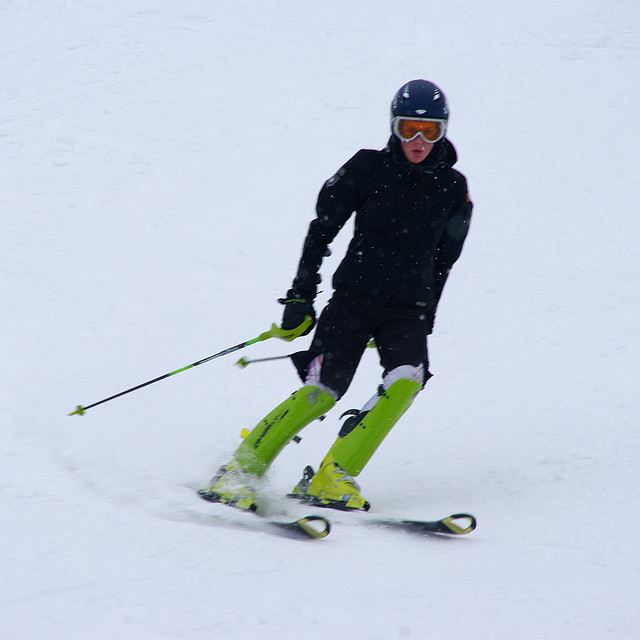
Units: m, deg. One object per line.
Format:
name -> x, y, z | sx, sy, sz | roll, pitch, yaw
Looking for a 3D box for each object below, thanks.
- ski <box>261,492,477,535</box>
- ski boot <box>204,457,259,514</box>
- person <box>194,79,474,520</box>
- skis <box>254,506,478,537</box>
ski -> 0.229, 1.004, 4.860 | 1.284, 0.065, 0.165 | 5, 2, 14
ski boot -> -0.436, 0.837, 5.040 | 0.323, 0.075, 0.353 | -7, 24, 10
person -> 0.109, -0.176, 5.134 | 0.958, 2.282, 1.340 | 10, 15, 20
skis -> 0.202, 1.017, 4.742 | 1.238, 0.102, 0.142 | 2, 42, 10
